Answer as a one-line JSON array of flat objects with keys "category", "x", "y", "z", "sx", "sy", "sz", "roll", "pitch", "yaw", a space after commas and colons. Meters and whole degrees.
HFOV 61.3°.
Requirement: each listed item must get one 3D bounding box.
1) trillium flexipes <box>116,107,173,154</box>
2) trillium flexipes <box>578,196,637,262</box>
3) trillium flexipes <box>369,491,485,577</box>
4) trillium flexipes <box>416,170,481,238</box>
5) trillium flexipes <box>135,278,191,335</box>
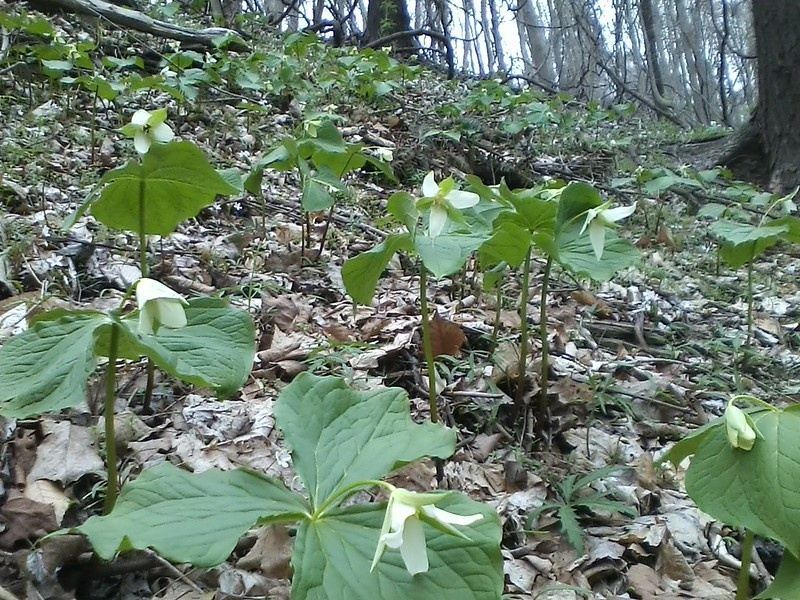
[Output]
[{"category": "trillium flexipes", "x": -1.033, "y": -0.698, "z": 2.765, "sx": 0.145, "sy": 0.168, "sz": 0.190, "roll": 17, "pitch": 23, "yaw": 40}, {"category": "trillium flexipes", "x": 0.854, "y": -0.325, "z": 2.778, "sx": 0.119, "sy": 0.257, "sz": 0.257, "roll": 17, "pitch": -26, "yaw": -41}, {"category": "trillium flexipes", "x": 0.046, "y": 0.633, "z": 2.021, "sx": 0.396, "sy": 0.153, "sz": 0.362, "roll": 25, "pitch": -13, "yaw": 13}, {"category": "trillium flexipes", "x": 0.173, "y": -0.361, "z": 2.554, "sx": 0.223, "sy": 0.237, "sz": 0.144, "roll": 6, "pitch": 18, "yaw": 13}, {"category": "trillium flexipes", "x": -0.816, "y": 0.018, "z": 2.304, "sx": 0.151, "sy": 0.187, "sz": 0.104, "roll": -4, "pitch": 19, "yaw": -20}]
